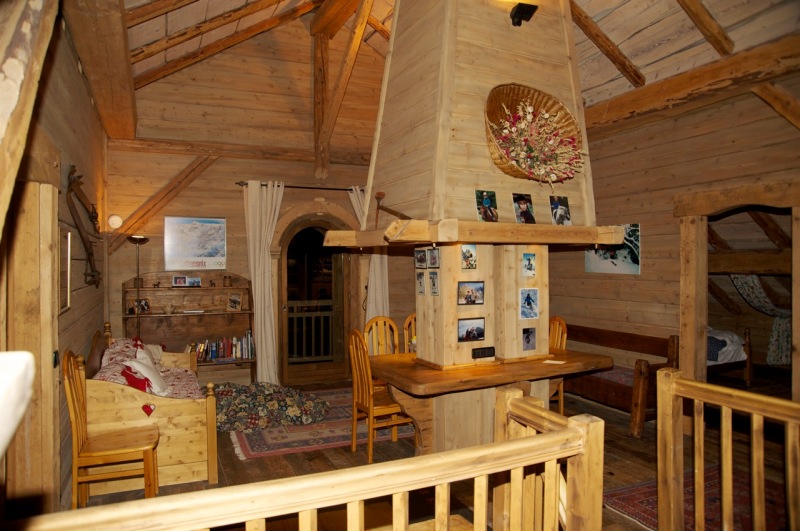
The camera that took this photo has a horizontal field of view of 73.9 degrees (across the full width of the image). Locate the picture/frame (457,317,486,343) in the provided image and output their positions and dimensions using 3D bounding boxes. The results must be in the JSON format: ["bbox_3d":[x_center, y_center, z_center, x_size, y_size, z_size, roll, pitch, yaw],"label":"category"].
[{"bbox_3d":[0.692,0.626,5.297,0.326,0.192,0.031,-1,1,-26],"label":"picture/frame"}]

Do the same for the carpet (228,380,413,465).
[{"bbox_3d":[-1.065,1.766,6.321,1.797,0.017,1.677,-4,-44,-7],"label":"carpet"}]

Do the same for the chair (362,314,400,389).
[{"bbox_3d":[-0.161,1.085,6.539,0.578,0.832,0.607,2,2,-19],"label":"chair"}]

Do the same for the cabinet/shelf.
[{"bbox_3d":[-3.032,0.863,8.082,0.690,1.660,2.028,-15,-11,38],"label":"cabinet/shelf"}]

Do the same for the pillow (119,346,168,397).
[{"bbox_3d":[-2.804,1.200,5.663,0.150,0.487,0.439,-45,-26,10],"label":"pillow"}]

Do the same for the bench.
[{"bbox_3d":[3.053,1.456,7.497,1.079,0.780,2.099,-6,2,-13],"label":"bench"}]

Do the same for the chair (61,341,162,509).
[{"bbox_3d":[-2.647,1.513,4.978,0.910,1.334,0.723,2,-4,-16],"label":"chair"}]

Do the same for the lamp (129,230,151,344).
[{"bbox_3d":[-3.850,0.506,7.801,0.332,1.415,0.299,14,19,13],"label":"lamp"}]

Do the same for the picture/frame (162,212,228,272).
[{"bbox_3d":[-3.229,-0.381,8.198,1.112,0.857,0.104,-2,3,-30],"label":"picture/frame"}]

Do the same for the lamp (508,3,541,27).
[{"bbox_3d":[1.235,-2.536,5.351,0.310,0.185,0.254,-9,-45,-25],"label":"lamp"}]

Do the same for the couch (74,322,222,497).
[{"bbox_3d":[-2.875,1.390,6.185,1.173,0.803,1.937,11,3,-21],"label":"couch"}]

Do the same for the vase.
[{"bbox_3d":[1.380,-1.257,5.214,0.451,1.017,1.156,-26,47,-19],"label":"vase"}]

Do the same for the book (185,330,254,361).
[{"bbox_3d":[-2.710,1.259,8.215,1.086,0.311,0.575,-1,-6,-16],"label":"book"}]

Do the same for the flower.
[{"bbox_3d":[1.333,-1.265,5.322,1.157,0.891,0.409,-6,2,-25],"label":"flower"}]

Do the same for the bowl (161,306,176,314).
[{"bbox_3d":[-3.483,0.650,7.998,0.160,0.148,0.292,-6,3,-24],"label":"bowl"}]
